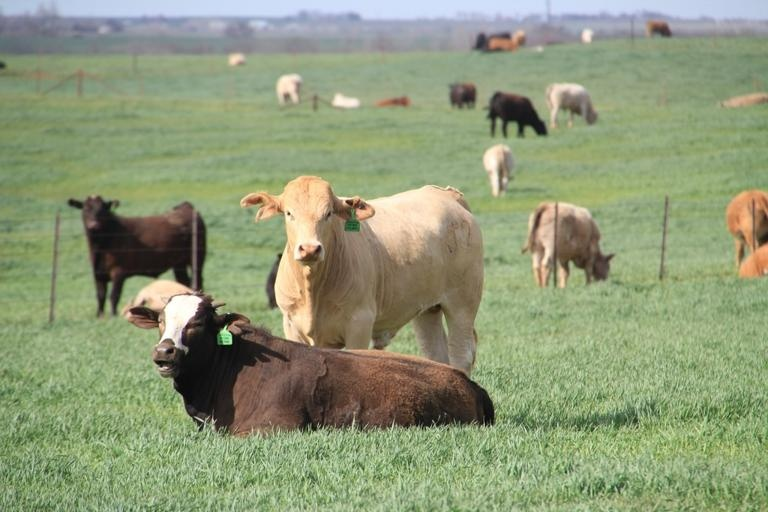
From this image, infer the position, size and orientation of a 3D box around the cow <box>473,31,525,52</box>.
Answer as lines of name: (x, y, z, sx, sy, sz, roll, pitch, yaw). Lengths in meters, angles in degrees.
cow: (4.878, -9.091, 71.703, 2.113, 0.786, 0.686, -2, 10, 0)

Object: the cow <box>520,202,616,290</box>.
cow: (6.832, -0.385, 58.067, 1.482, 2.904, 5.336, 2, -2, 37)

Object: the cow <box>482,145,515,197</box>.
cow: (4.444, -3.272, 65.426, 1.054, 2.170, 1.620, -2, 10, -2)

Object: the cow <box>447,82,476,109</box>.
cow: (3.308, -6.724, 70.797, 1.135, 0.972, 0.664, -1, 10, 3)

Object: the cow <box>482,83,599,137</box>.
cow: (6.429, -5.799, 67.409, 4.300, 1.773, 1.489, -1, -11, -1)

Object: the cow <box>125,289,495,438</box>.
cow: (-2.074, 3.220, 49.002, 10.610, 5.395, 3.983, 3, -15, -1)

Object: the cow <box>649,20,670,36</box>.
cow: (11.583, -9.559, 70.987, 1.164, 0.667, 0.648, 6, 13, 35)
